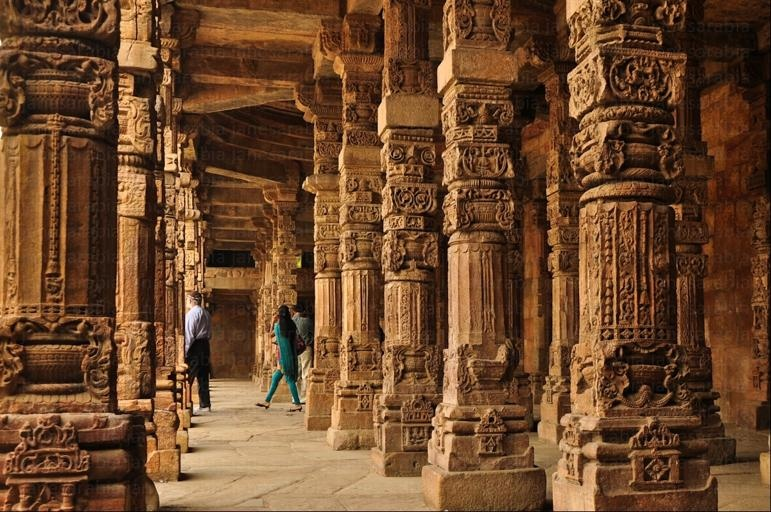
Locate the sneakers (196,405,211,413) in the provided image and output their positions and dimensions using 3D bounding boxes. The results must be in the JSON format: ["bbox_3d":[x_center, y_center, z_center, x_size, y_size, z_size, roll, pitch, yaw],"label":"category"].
[{"bbox_3d":[-3.165,2.663,19.922,0.105,0.100,0.274,0,-1,-32],"label":"sneakers"}]
